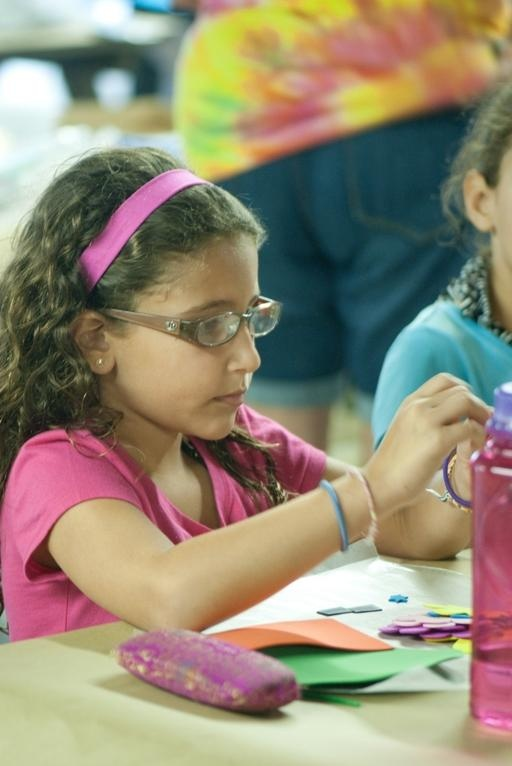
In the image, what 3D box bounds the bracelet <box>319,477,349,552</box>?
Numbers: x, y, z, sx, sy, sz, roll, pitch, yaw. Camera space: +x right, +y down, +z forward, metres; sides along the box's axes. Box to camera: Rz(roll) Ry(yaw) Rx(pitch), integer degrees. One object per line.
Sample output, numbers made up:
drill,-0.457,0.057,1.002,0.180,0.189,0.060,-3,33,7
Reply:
bracelet,0.077,0.132,0.756,0.017,0.076,0.057,-12,25,2
